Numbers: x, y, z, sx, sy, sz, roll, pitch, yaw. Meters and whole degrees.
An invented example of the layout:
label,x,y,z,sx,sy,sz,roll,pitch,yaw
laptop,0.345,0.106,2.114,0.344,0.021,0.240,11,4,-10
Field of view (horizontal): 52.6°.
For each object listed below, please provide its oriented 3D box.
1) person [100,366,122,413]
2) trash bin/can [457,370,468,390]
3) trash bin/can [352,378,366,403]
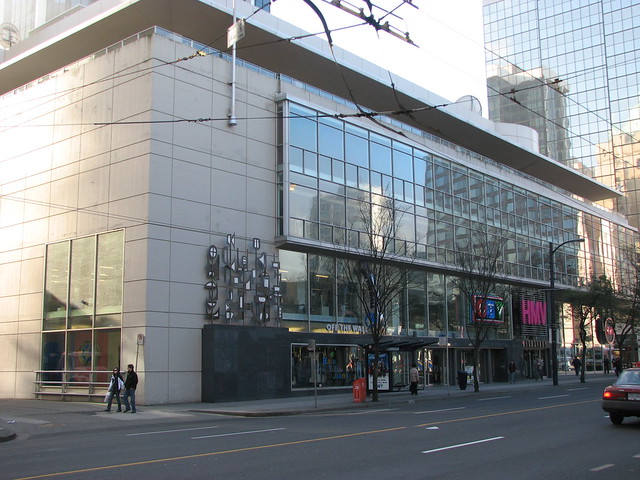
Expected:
label,x,y,z,sx,sy,sz,roll,pitch,yaw
person,-9.513,6.965,30.066,0.720,1.998,1.416,3,-14,-18
trash bin/can,9.952,9.725,44.997,0.563,1.331,1.309,-3,-14,8
trash bin/can,2.078,7.871,33.893,0.634,1.195,0.865,-1,-14,-3
